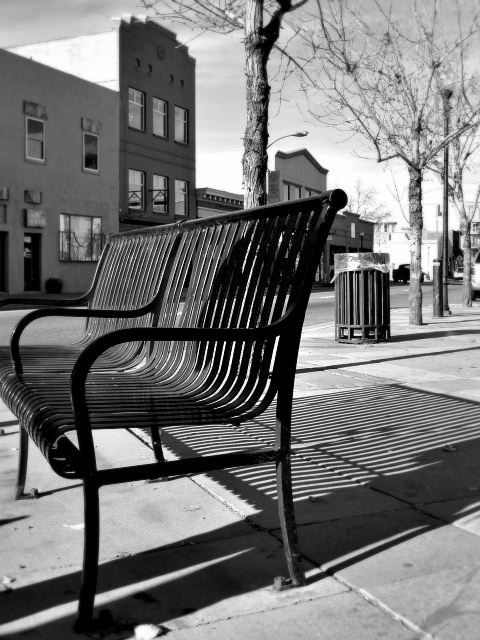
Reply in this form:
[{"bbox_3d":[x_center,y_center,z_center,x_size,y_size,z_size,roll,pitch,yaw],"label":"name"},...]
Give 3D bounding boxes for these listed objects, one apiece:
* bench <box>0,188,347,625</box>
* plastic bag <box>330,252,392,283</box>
[{"bbox_3d":[-0.374,0.139,2.690,1.032,1.226,2.013,-2,3,-21],"label":"bench"},{"bbox_3d":[1.755,-0.812,9.360,0.787,0.371,0.707,0,3,12],"label":"plastic bag"}]
